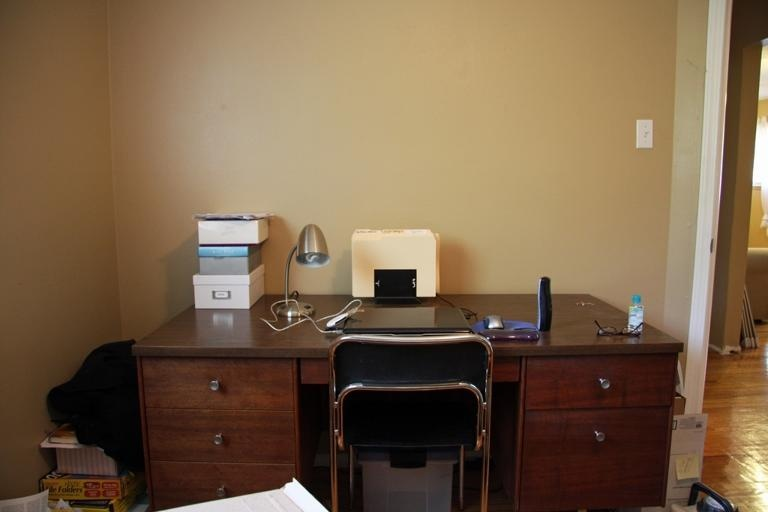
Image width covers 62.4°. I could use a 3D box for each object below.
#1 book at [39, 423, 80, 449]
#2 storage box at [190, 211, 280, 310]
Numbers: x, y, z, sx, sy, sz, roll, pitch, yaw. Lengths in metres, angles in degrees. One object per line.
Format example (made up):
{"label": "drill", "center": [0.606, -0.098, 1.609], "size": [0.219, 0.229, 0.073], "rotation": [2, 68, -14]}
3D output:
{"label": "book", "center": [-1.708, 0.985, 3.424], "size": [0.221, 0.136, 0.095], "rotation": [0, 6, 2]}
{"label": "storage box", "center": [-0.749, 0.023, 3.745], "size": [0.488, 0.632, 0.490], "rotation": [0, 3, 1]}
